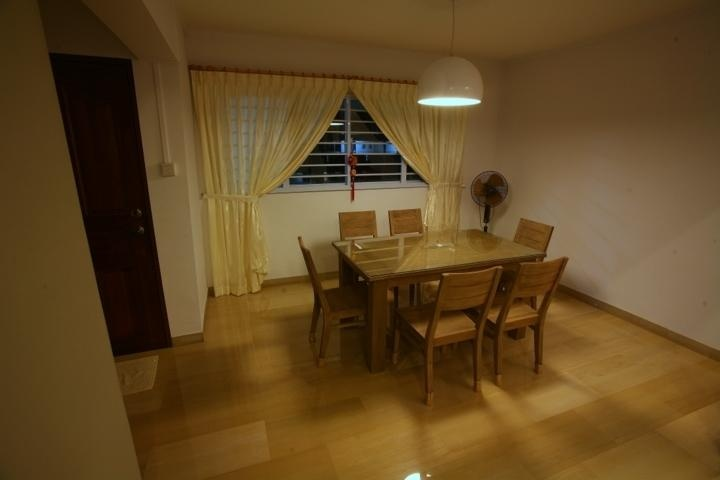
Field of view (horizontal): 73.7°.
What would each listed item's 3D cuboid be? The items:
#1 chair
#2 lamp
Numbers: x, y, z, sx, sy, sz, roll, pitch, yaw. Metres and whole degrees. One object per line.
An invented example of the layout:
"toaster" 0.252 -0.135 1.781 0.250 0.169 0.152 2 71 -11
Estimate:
"chair" 0.610 0.371 4.496 2.285 1.142 1.728 -4 12 -11
"lamp" 0.852 -1.700 4.408 0.520 0.909 1.344 1 12 12
